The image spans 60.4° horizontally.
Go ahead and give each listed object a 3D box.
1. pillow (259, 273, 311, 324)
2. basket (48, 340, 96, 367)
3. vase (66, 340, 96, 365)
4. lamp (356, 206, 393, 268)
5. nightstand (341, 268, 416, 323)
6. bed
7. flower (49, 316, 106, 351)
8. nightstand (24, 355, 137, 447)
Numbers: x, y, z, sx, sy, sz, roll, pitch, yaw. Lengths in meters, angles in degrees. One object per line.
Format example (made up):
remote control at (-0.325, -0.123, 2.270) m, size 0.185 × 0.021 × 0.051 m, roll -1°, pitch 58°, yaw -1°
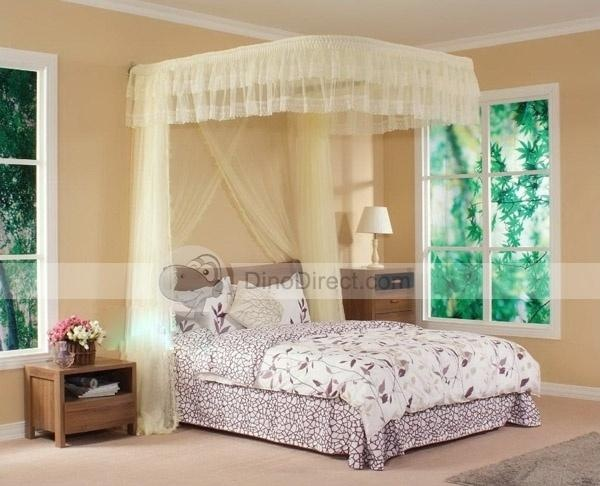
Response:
pillow at (-0.105, 0.524, 4.736) m, size 0.397 × 0.379 × 0.115 m, roll 1°, pitch -18°, yaw -43°
basket at (-1.638, 0.799, 3.771) m, size 0.229 × 0.156 × 0.220 m, roll 1°, pitch -1°, yaw -35°
vase at (-1.568, 0.793, 3.774) m, size 0.176 × 0.160 × 0.178 m, roll 0°, pitch -2°, yaw 36°
lamp at (0.840, -0.064, 5.795) m, size 0.374 × 0.706 × 0.654 m, roll -1°, pitch -5°, yaw 6°
nightstand at (0.879, 0.609, 5.651) m, size 0.710 × 0.628 × 0.450 m, roll 1°, pitch 0°, yaw -36°
bed at (0.195, 0.894, 3.808) m, size 2.005 × 0.990 × 1.704 m, roll 0°, pitch 2°, yaw 41°
flower at (-1.668, 0.684, 3.851) m, size 0.374 × 0.233 × 0.400 m, roll -18°, pitch -16°, yaw 37°
nightstand at (-1.622, 1.164, 3.856) m, size 0.659 × 0.544 × 0.552 m, roll 4°, pitch -6°, yaw -42°
